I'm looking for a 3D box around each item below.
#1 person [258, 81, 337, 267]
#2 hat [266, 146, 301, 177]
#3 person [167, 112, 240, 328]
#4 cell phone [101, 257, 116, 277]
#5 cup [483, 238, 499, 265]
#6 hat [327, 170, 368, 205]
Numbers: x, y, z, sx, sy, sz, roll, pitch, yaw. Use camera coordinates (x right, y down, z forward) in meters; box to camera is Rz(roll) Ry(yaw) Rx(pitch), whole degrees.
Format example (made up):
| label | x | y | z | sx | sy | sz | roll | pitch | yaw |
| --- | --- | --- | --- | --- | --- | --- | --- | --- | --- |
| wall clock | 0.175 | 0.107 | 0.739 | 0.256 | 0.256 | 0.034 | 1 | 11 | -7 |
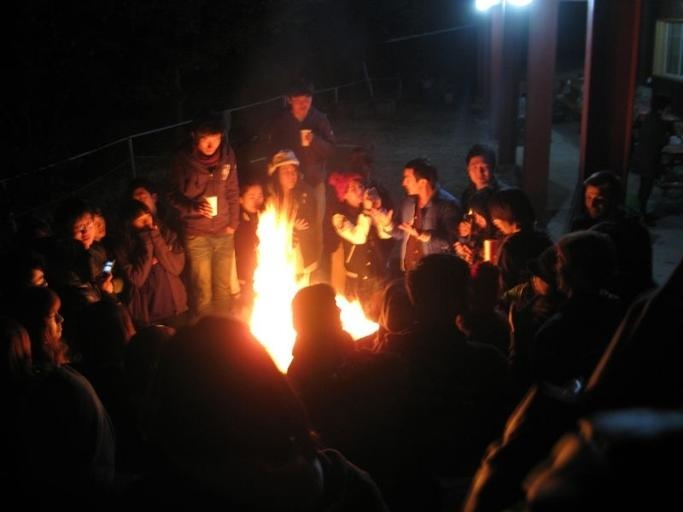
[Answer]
| label | x | y | z | sx | sy | sz | roll | pitch | yaw |
| --- | --- | --- | --- | --- | --- | --- | --- | --- | --- |
| person | -0.479 | -1.015 | 7.259 | 0.660 | 2.363 | 1.233 | -15 | -13 | 31 |
| hat | -0.661 | -0.996 | 6.486 | 0.266 | 0.132 | 0.309 | -18 | -8 | -38 |
| person | -1.371 | -0.348 | 6.095 | 0.696 | 1.812 | 1.074 | -6 | -11 | -9 |
| cell phone | -2.000 | 0.112 | 5.051 | 0.134 | 0.135 | 0.031 | 19 | -44 | -36 |
| cup | 1.333 | -0.049 | 5.313 | 0.174 | 0.303 | 0.183 | -1 | 5 | 0 |
| hat | 0.060 | -0.732 | 6.097 | 0.369 | 0.367 | 0.299 | -7 | 21 | 6 |
